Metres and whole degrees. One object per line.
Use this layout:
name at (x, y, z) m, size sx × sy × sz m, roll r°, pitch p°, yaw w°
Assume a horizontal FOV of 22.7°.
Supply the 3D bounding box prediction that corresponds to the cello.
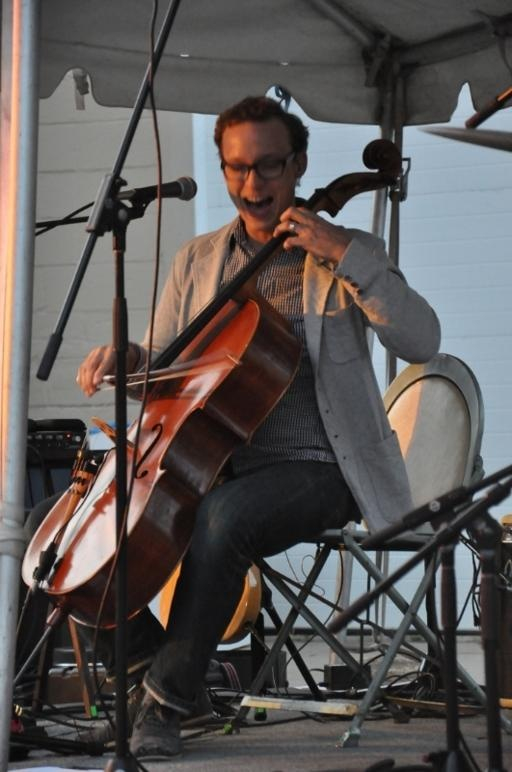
cello at (-0.068, -0.042, 3.034) m, size 0.293 × 1.289 × 0.471 m, roll 42°, pitch -15°, yaw -7°

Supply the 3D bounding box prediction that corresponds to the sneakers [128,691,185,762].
sneakers at (-0.210, 0.728, 2.721) m, size 0.109 × 0.136 × 0.164 m, roll 6°, pitch 0°, yaw -3°

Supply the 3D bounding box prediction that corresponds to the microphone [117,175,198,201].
microphone at (-0.188, -0.421, 2.682) m, size 0.209 × 0.064 × 0.059 m, roll -9°, pitch 3°, yaw -44°

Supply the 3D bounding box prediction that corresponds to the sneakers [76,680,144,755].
sneakers at (-0.333, 0.773, 2.947) m, size 0.050 × 0.162 × 0.082 m, roll 32°, pitch -25°, yaw -25°

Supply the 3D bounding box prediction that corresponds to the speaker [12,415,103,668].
speaker at (-0.572, 0.448, 3.443) m, size 0.141 × 0.707 × 0.258 m, roll 21°, pitch -12°, yaw -28°

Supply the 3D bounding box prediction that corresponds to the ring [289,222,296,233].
ring at (0.085, -0.388, 3.013) m, size 0.015 × 0.016 × 0.015 m, roll 3°, pitch 4°, yaw 0°
